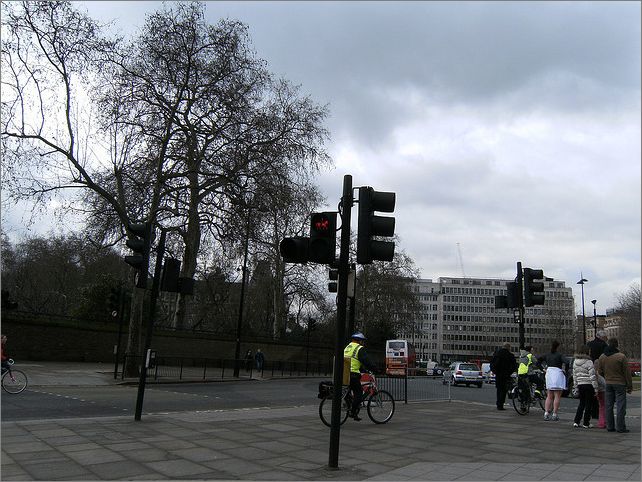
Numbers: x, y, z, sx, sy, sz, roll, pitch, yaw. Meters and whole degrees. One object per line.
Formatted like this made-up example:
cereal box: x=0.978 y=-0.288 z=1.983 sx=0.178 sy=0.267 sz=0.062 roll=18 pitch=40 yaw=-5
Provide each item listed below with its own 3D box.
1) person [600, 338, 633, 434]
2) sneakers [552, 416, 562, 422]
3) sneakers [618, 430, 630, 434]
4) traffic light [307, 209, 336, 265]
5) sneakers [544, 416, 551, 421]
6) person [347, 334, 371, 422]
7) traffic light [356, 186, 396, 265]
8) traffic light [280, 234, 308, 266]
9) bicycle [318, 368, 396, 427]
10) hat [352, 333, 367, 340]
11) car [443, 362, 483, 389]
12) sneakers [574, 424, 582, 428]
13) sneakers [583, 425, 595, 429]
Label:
person: x=7.730 y=3.768 z=16.535 sx=0.814 sy=2.381 sz=1.092 roll=-1 pitch=-9 yaw=24
sneakers: x=6.704 y=5.043 z=17.894 sx=0.305 sy=0.231 sz=0.107 roll=0 pitch=-4 yaw=-9
sneakers: x=7.676 y=4.823 z=15.947 sx=0.280 sy=0.119 sz=0.108 roll=-1 pitch=-13 yaw=3
traffic light: x=0.027 y=-0.086 z=12.381 sx=0.523 sy=1.014 sz=0.390 roll=3 pitch=-9 yaw=-3
sneakers: x=6.489 y=5.060 z=17.976 sx=0.133 sy=0.198 sz=0.200 roll=2 pitch=-12 yaw=-3
person: x=0.969 y=3.558 z=16.415 sx=0.754 sy=2.281 sz=0.913 roll=2 pitch=-9 yaw=3
traffic light: x=1.062 y=-0.333 z=12.349 sx=0.760 sy=1.550 sz=0.589 roll=1 pitch=-9 yaw=10
traffic light: x=-0.508 y=0.183 z=12.484 sx=0.502 sy=0.462 sz=0.505 roll=-8 pitch=-14 yaw=41
bicycle: x=0.918 y=4.300 z=17.008 sx=2.185 sy=1.416 sz=1.097 roll=0 pitch=-10 yaw=-18
hat: x=1.032 y=2.521 z=16.622 sx=0.342 sy=0.129 sz=0.237 roll=11 pitch=-9 yaw=-37
car: x=9.419 y=8.713 z=41.043 sx=1.972 sy=1.477 sz=1.703 roll=2 pitch=-9 yaw=5
sneakers: x=6.836 y=4.918 z=16.799 sx=0.157 sy=0.129 sz=0.325 roll=-1 pitch=-10 yaw=23
sneakers: x=7.127 y=4.928 z=16.736 sx=0.284 sy=0.126 sz=0.104 roll=7 pitch=-9 yaw=-28
